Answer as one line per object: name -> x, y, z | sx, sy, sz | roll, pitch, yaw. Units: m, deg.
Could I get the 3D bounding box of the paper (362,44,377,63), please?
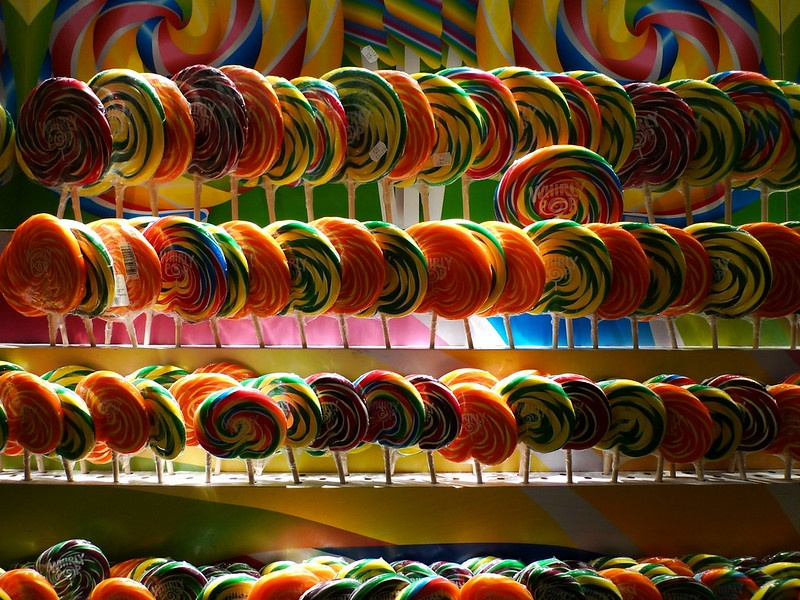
paper -> -0.107, -0.844, 2.992 | 0.044, 0.031, 0.054 | -27, -54, 14

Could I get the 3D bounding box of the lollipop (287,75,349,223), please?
lollipop -> -0.240, -0.458, 2.527 | 0.064, 0.175, 0.322 | -15, -69, -44

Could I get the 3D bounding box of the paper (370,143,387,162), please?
paper -> -0.066, -0.430, 2.527 | 0.060, 0.036, 0.013 | -47, -19, 27

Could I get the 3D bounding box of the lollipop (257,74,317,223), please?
lollipop -> -0.320, -0.440, 2.522 | 0.062, 0.177, 0.326 | -19, -65, -47

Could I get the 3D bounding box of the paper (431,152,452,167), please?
paper -> 0.125, -0.419, 2.591 | 0.060, 0.019, 0.040 | -8, -51, 0

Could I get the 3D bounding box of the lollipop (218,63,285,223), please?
lollipop -> -0.411, -0.497, 2.472 | 0.177, 0.063, 0.324 | 2, -77, 1
